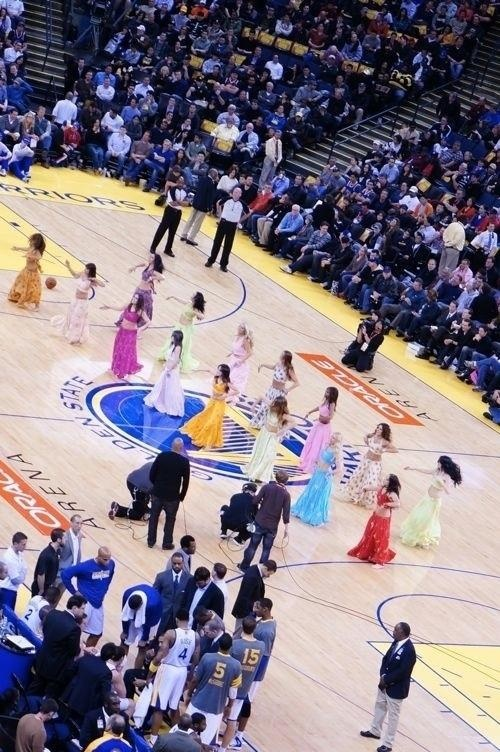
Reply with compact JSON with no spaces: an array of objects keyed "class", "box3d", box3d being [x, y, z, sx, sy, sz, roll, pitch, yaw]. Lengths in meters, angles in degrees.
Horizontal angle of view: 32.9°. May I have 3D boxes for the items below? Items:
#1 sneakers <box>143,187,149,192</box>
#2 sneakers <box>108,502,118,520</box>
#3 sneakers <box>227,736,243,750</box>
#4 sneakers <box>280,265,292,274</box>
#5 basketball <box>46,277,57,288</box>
[{"class":"sneakers","box3d":[-2.918,-5.233,23.676,0.082,0.087,0.222,12,7,35]},{"class":"sneakers","box3d":[-1.601,1.570,9.909,0.097,0.225,0.102,14,0,8]},{"class":"sneakers","box3d":[-0.118,2.891,6.699,0.047,0.075,0.118,10,0,-30]},{"class":"sneakers","box3d":[0.885,-2.727,21.304,0.129,0.165,0.367,23,16,-42]},{"class":"basketball","box3d":[-3.795,-1.785,16.142,0.176,0.227,0.446,15,8,-7]}]
